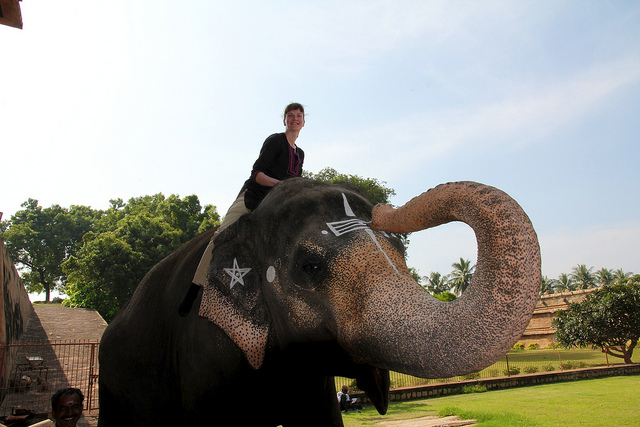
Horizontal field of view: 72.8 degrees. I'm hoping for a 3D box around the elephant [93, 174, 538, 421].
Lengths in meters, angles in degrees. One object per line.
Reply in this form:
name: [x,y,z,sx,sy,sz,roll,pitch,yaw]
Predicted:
elephant: [-0.248,0.741,3.803,3.946,2.126,0.888,-12,-13,23]
